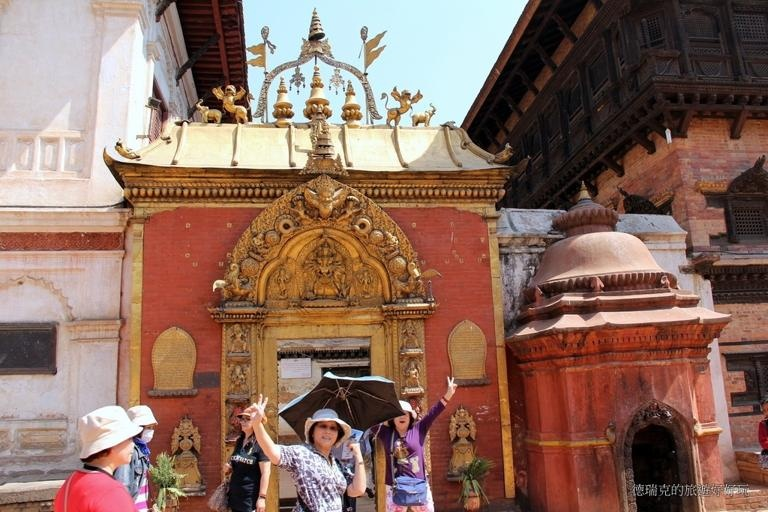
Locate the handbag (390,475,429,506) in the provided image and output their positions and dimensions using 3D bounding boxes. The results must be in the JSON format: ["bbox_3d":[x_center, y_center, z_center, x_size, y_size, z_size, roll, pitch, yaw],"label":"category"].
[{"bbox_3d":[0.397,3.943,15.576,0.772,0.683,0.430,0,-23,-1],"label":"handbag"}]
